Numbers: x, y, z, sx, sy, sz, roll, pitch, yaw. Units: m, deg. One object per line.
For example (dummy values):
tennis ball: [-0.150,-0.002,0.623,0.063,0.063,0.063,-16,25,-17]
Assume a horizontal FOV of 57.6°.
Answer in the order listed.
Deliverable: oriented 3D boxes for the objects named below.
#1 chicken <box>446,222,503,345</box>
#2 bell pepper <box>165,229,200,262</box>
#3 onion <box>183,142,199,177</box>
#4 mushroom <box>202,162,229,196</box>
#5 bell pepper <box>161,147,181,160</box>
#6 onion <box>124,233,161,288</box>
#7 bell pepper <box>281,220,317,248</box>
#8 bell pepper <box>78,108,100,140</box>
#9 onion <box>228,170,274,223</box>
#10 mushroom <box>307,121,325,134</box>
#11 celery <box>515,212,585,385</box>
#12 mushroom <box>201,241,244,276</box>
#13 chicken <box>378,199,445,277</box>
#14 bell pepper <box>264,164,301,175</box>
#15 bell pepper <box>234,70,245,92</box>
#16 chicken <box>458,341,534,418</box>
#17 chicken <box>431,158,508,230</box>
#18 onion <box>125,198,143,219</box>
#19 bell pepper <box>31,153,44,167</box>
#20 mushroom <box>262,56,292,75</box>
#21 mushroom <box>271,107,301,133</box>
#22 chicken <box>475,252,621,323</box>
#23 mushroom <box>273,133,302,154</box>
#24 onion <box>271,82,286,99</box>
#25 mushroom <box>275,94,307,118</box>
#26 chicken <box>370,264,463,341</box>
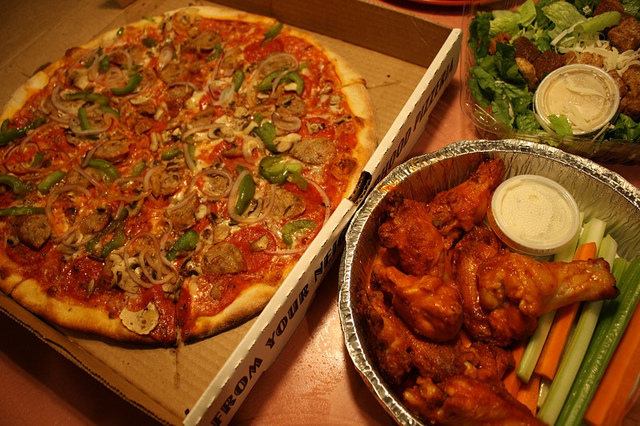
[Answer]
chicken: [1.198,0.534,4.518,0.445,0.910,0.262,-14,-24,21]
bell pepper: [-1.224,0.287,5.273,0.160,0.354,0.146,45,-11,13]
onion: [-1.236,-0.488,5.550,0.084,0.421,0.059,-19,-12,-5]
mushroom: [-0.995,-0.280,5.446,0.252,0.395,0.091,1,-26,-15]
bell pepper: [-1.428,-0.547,5.571,0.171,0.091,0.078,-26,-16,1]
onion: [-1.593,0.451,5.212,0.330,0.288,0.294,-21,32,-29]
bell pepper: [-0.217,0.167,5.321,0.288,0.196,0.070,-23,-6,-10]
bell pepper: [-2.333,-0.873,5.841,0.161,0.363,0.094,-12,-10,-19]
onion: [-0.681,-0.138,5.335,0.375,0.388,0.508,-15,34,-30]
mushroom: [-0.044,-0.815,5.599,0.106,0.117,0.034,15,-29,1]
celery: [1.803,0.809,4.712,0.354,1.762,0.219,19,-4,23]
mushroom: [-0.869,0.417,5.150,0.276,0.285,0.082,6,-12,-5]
chicken: [0.727,0.195,4.610,0.485,0.623,0.209,-31,-6,10]
bell pepper: [-0.338,-0.403,5.327,0.340,0.131,0.098,-3,-15,-2]
bell pepper: [-0.811,-1.306,5.799,0.092,0.187,0.046,21,-10,5]
chicken: [1.324,1.263,4.501,0.487,0.475,0.188,38,-34,19]
chicken: [1.243,-0.135,4.752,0.414,0.691,0.264,49,-4,32]
onion: [-1.732,-0.019,5.404,0.116,0.181,0.045,9,-16,15]
bell pepper: [-2.775,-0.512,5.703,0.074,0.156,0.047,23,-5,-2]
mushroom: [-0.445,-1.487,5.857,0.258,0.175,0.065,-20,-17,-5]
mushroom: [-0.332,-0.889,5.596,0.244,0.215,0.070,18,-15,8]
chicken: [1.709,0.540,4.408,0.858,0.583,0.381,-5,-26,10]
mushroom: [-0.315,-0.654,5.534,0.252,0.158,0.083,-31,-17,0]
onion: [-0.408,-1.184,5.703,0.092,0.164,0.039,37,-8,15]
mushroom: [-0.275,-1.037,5.686,0.239,0.219,0.073,26,-9,0]
chicken: [0.754,0.699,4.565,0.671,0.422,0.281,38,-12,18]
